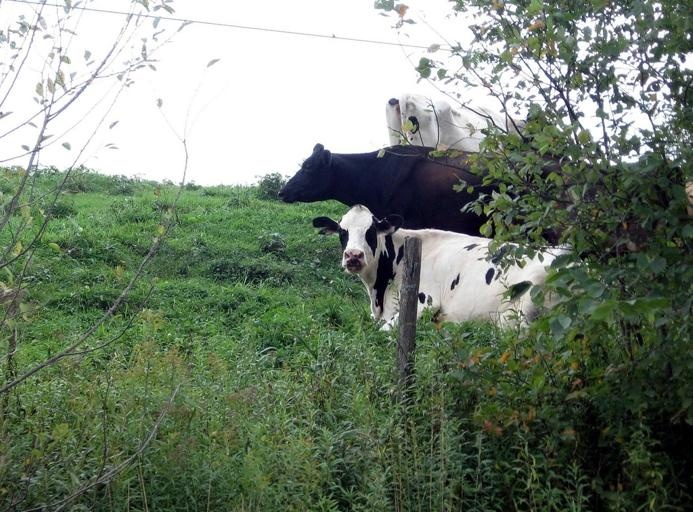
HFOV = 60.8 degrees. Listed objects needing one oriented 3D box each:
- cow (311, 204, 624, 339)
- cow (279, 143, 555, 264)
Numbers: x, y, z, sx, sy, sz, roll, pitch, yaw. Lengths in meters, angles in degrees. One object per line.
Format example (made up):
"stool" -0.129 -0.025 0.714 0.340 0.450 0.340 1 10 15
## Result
"cow" 1.076 0.189 7.015 3.299 1.983 1.241 3 -3 29
"cow" 1.117 -0.782 9.169 3.896 1.224 2.190 0 -59 3
